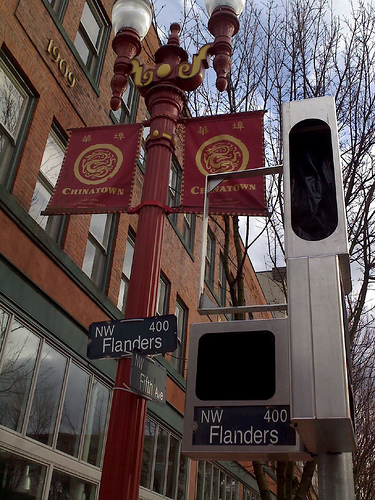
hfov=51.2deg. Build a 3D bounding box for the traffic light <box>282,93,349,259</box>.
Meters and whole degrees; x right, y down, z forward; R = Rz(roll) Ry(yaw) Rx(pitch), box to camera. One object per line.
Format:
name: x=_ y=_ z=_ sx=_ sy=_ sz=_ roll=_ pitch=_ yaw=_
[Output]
traffic light: x=0.648 y=-0.358 z=1.976 sx=0.289 sy=1.030 sz=0.385 roll=-13 pitch=-31 yaw=29
